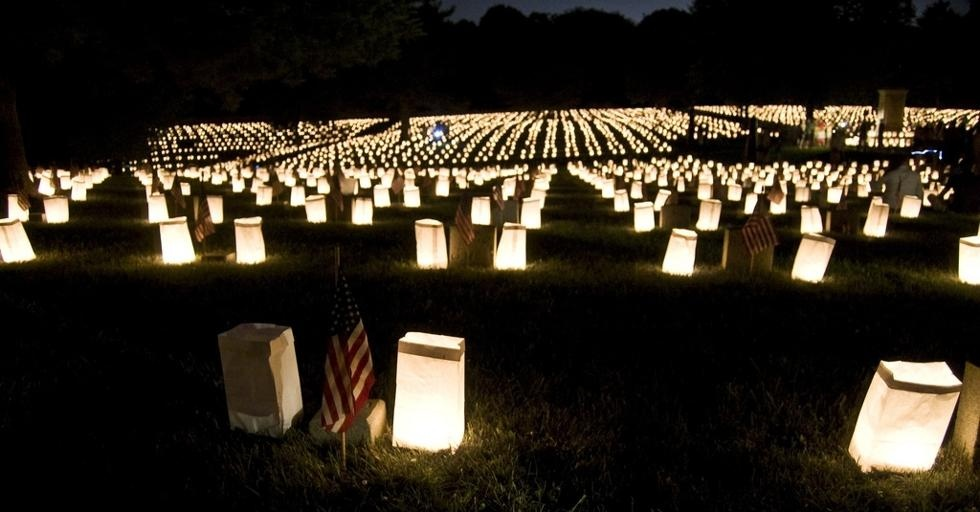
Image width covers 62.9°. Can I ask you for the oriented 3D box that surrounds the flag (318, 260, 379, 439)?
[{"bbox_3d":[-3.195,2.181,17.851,1.090,3.751,0.753,-1,13,-12],"label":"flag"}]
